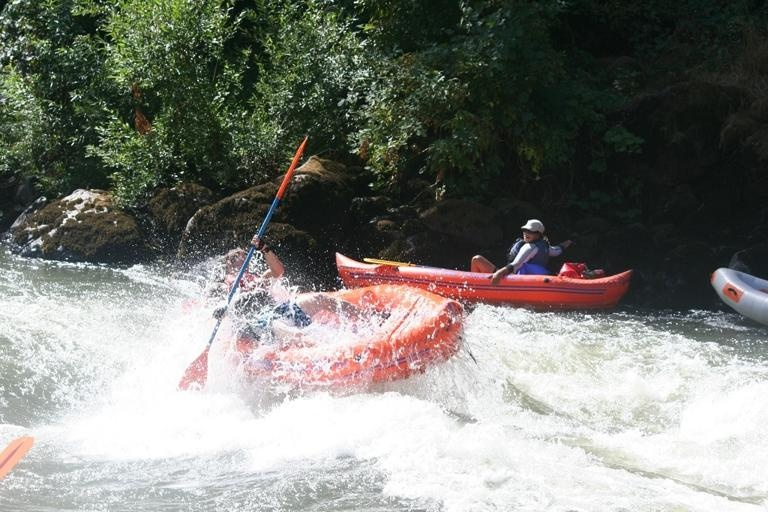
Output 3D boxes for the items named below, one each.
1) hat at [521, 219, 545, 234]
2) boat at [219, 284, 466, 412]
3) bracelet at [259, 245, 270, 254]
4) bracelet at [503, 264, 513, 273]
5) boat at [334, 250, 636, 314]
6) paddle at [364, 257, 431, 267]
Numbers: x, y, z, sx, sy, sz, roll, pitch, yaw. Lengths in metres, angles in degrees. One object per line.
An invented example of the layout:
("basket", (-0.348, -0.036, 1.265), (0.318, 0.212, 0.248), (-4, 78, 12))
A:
("hat", (2.897, -0.549, 19.372), (0.400, 0.212, 0.291), (20, -2, -27))
("boat", (-0.667, 1.373, 16.116), (2.852, 0.955, 1.886), (-9, 12, 13))
("bracelet", (-2.002, -0.114, 16.954), (0.128, 0.097, 0.133), (7, 20, 23))
("bracelet", (2.369, 0.230, 19.153), (0.143, 0.145, 0.054), (17, -31, 17))
("boat", (2.081, 0.637, 19.506), (5.843, 1.246, 1.836), (5, -9, 16))
("paddle", (0.184, 0.111, 20.292), (1.193, 0.174, 0.095), (2, -25, 42))
